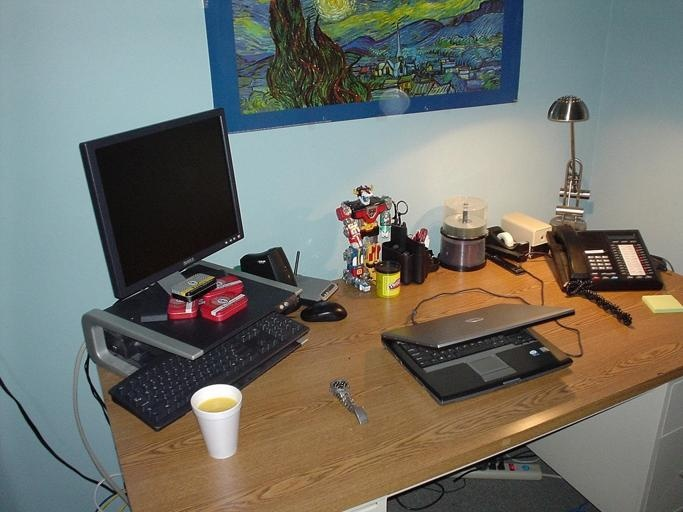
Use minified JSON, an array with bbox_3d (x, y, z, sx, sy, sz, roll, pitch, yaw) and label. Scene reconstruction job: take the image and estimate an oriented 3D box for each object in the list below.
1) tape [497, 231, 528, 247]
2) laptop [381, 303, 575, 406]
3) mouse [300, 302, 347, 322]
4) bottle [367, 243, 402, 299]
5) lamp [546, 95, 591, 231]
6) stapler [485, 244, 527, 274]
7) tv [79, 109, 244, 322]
[{"bbox_3d":[0.727,-0.087,2.124,0.065,0.045,0.090,-14,29,-30],"label":"tape"},{"bbox_3d":[0.416,0.244,1.578,0.512,0.171,0.370,-7,23,-20],"label":"laptop"},{"bbox_3d":[-0.066,0.198,1.729,0.127,0.041,0.070,2,12,3],"label":"mouse"},{"bbox_3d":[0.143,0.073,1.935,0.089,0.150,0.151,-4,23,-6],"label":"bottle"},{"bbox_3d":[1.022,-0.397,2.245,0.178,0.606,0.513,5,20,26],"label":"lamp"},{"bbox_3d":[0.682,0.008,2.119,0.057,0.051,0.215,-21,39,-16],"label":"stapler"},{"bbox_3d":[-0.563,-0.128,1.554,0.094,0.527,0.586,17,35,40],"label":"tv"}]
